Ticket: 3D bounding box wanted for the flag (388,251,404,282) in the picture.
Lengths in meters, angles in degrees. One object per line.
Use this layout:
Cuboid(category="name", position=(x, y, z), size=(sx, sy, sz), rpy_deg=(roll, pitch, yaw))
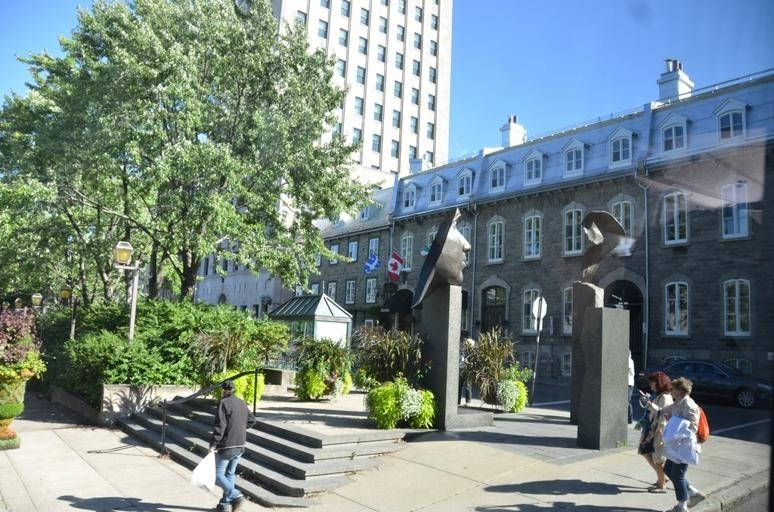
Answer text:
Cuboid(category="flag", position=(0.549, 0.553, 39.151), size=(0.826, 1.789, 1.217), rpy_deg=(5, -12, -4))
